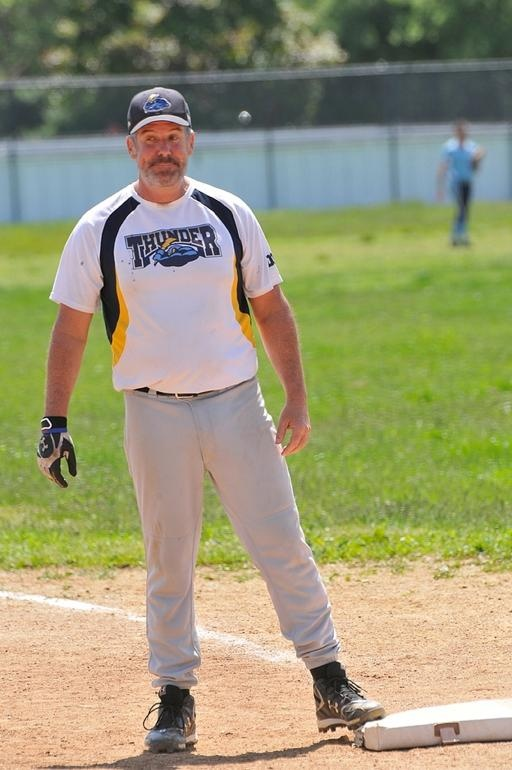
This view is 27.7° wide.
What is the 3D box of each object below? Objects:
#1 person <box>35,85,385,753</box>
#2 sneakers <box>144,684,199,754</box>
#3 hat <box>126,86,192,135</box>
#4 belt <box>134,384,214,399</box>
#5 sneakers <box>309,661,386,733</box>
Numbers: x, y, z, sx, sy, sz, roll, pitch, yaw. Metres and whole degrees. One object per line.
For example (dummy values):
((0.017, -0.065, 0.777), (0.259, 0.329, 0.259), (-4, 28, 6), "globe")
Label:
((-0.156, 0.222, 3.116), (0.966, 1.673, 0.409), (-3, 9, 5), "person")
((-0.260, 0.996, 3.100), (0.147, 0.161, 0.296), (-3, -9, 12), "sneakers")
((-0.290, -0.816, 3.127), (0.143, 0.084, 0.178), (-1, -1, -5), "hat")
((-0.234, 0.019, 3.025), (0.245, 0.040, 0.044), (-2, 8, 4), "belt")
((0.271, 0.920, 3.093), (0.137, 0.191, 0.392), (-6, -16, -23), "sneakers")
